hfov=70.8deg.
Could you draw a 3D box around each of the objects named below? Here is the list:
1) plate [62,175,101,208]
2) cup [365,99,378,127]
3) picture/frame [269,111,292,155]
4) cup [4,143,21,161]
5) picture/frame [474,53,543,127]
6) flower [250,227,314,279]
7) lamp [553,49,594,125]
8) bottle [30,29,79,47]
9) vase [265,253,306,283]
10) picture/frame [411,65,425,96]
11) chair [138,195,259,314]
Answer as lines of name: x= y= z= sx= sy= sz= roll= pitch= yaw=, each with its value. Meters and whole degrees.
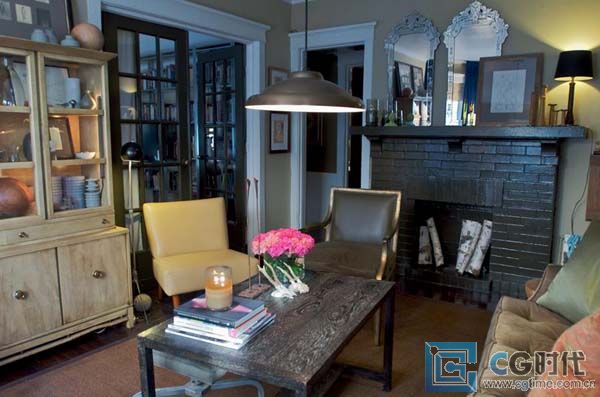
plate: x=-1.842 y=-0.054 z=3.536 sx=0.257 sy=0.270 sz=0.256 roll=1 pitch=4 yaw=10
cup: x=0.845 y=-1.017 z=5.002 sx=0.148 sy=0.313 sz=0.357 roll=1 pitch=11 yaw=9
picture/frame: x=-0.269 y=-0.859 z=5.474 sx=0.068 sy=0.694 sz=0.553 roll=4 pitch=6 yaw=38
cup: x=-2.179 y=-0.348 z=3.189 sx=0.078 sy=0.127 sz=0.129 roll=3 pitch=5 yaw=-1
picture/frame: x=2.171 y=-1.117 z=4.351 sx=0.822 sy=0.968 sz=0.036 roll=4 pitch=7 yaw=26
flower: x=-0.137 y=0.358 z=3.118 sx=0.409 sy=0.364 sz=0.380 roll=-2 pitch=1 yaw=-8
lamp: x=2.637 y=-1.064 z=4.094 sx=0.309 sy=0.702 sz=0.342 roll=7 pitch=14 yaw=33
bottle: x=-1.921 y=-1.259 z=3.310 sx=0.327 sy=0.144 sz=0.228 roll=-7 pitch=12 yaw=-30
vase: x=-0.108 y=0.476 z=3.052 sx=0.239 sy=0.238 sz=0.235 roll=-1 pitch=-4 yaw=-5
picture/frame: x=1.343 y=-1.334 z=4.825 sx=0.168 sy=0.342 sz=0.082 roll=6 pitch=14 yaw=28
chair: x=-0.876 y=0.515 z=4.273 sx=1.110 sy=1.113 sz=1.065 roll=-6 pitch=6 yaw=-33
